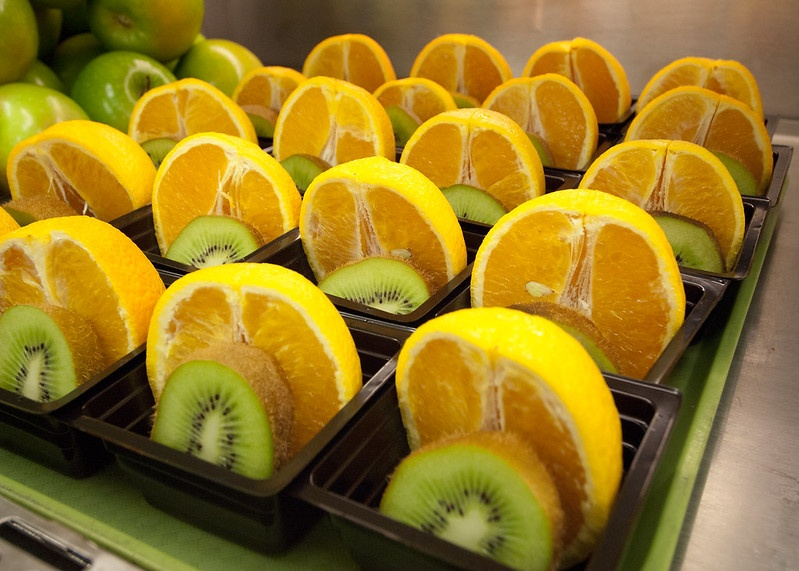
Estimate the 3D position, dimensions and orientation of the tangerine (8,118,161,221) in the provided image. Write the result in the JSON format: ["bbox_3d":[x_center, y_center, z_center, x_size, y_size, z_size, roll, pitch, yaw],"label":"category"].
[{"bbox_3d":[-0.515,-0.198,1.235,0.192,0.199,0.122,-18,8,21],"label":"tangerine"}]

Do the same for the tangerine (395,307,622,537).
[{"bbox_3d":[0.081,0.195,0.774,0.255,0.249,0.144,22,-57,-17],"label":"tangerine"}]

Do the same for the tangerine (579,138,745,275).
[{"bbox_3d":[0.408,-0.153,1.070,0.220,0.217,0.060,9,17,16],"label":"tangerine"}]

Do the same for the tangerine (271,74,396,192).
[{"bbox_3d":[-0.118,-0.282,1.328,0.221,0.216,0.060,24,17,24],"label":"tangerine"}]
